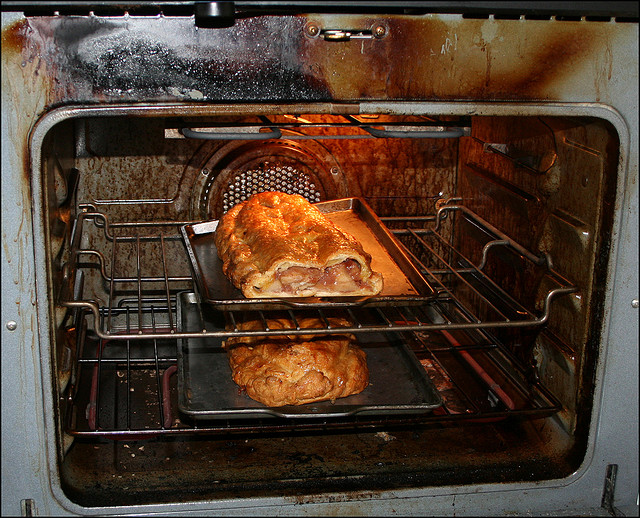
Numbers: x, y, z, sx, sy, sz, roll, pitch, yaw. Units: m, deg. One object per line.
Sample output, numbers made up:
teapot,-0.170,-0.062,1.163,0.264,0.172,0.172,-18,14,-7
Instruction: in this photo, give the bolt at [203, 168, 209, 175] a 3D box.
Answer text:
bolt,-0.441,-0.338,2.113,0.017,0.018,0.004,-1,20,-2

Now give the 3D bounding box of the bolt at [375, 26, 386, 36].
bolt,0.138,-0.518,1.246,0.018,0.018,0.005,-2,15,-6

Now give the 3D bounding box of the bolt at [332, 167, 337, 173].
bolt,0.057,-0.358,2.200,0.018,0.019,0.004,0,10,0

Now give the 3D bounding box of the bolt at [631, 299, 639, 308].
bolt,0.837,0.118,1.451,0.020,0.020,0.004,-1,1,9

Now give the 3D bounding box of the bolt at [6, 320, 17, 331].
bolt,-0.724,0.154,1.286,0.024,0.025,0.003,-4,16,2

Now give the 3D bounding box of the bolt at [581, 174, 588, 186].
bolt,0.739,-0.221,1.532,0.005,0.023,0.022,9,-29,-8
